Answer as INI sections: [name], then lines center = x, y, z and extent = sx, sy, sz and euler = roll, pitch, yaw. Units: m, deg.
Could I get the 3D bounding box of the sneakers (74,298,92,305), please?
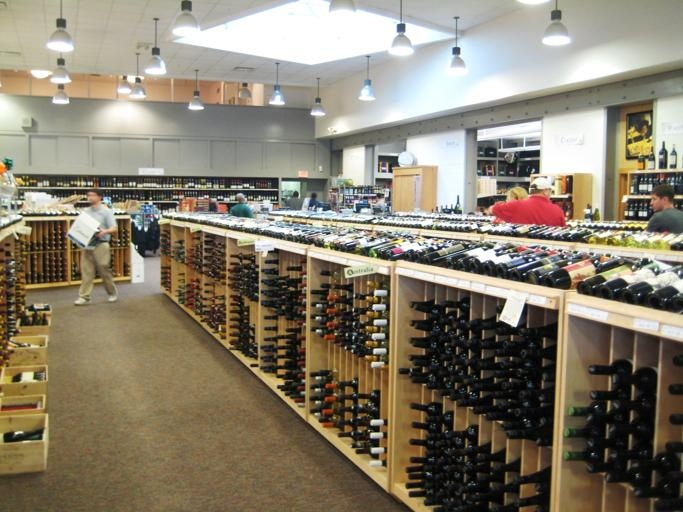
[sneakers]
center = -3.959, 0.696, 8.668
extent = 0.098, 0.109, 0.241
euler = 3, -6, 6

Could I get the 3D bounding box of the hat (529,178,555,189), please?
[hat]
center = 2.448, -0.876, 6.877
extent = 0.245, 0.167, 0.322
euler = 8, 14, 39

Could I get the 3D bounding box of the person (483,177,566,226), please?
[person]
center = 2.270, -0.508, 6.833
extent = 0.967, 0.776, 0.476
euler = 2, 6, 30
